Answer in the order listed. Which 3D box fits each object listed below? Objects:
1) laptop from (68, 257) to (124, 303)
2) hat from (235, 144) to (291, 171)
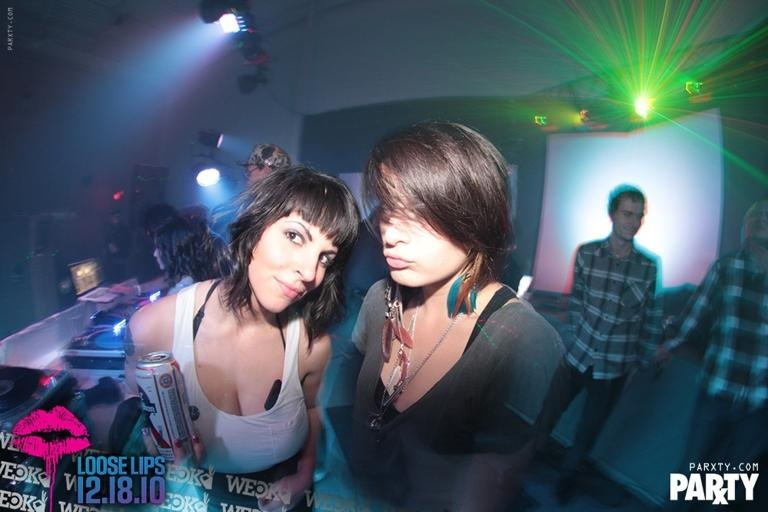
[{"bbox_3d":[-1.746,0.120,2.808,0.293,0.246,0.310,20,22,39],"label":"laptop"},{"bbox_3d":[-0.713,-0.578,2.671,0.271,0.129,0.190,9,10,2],"label":"hat"}]
